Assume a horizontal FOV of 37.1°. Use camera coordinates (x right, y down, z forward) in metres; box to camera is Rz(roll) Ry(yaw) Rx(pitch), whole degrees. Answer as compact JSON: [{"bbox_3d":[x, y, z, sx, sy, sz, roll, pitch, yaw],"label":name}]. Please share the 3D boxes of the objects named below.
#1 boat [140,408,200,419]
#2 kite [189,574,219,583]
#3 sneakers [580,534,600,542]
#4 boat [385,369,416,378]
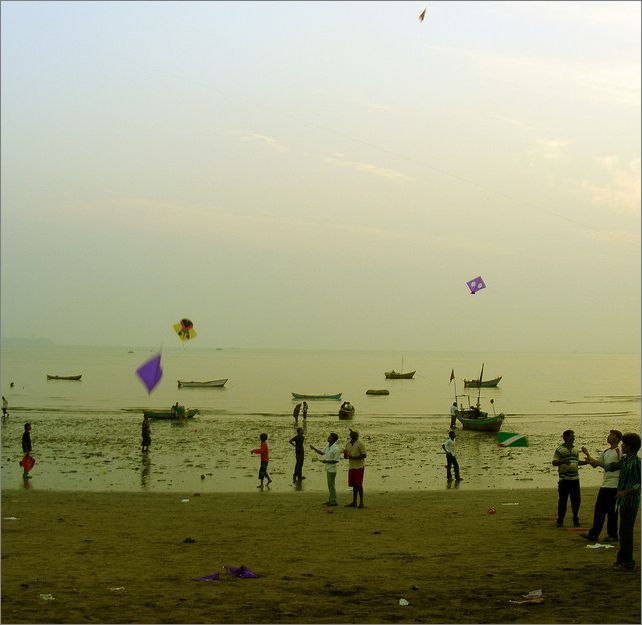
[{"bbox_3d":[-7.550,5.071,48.108,2.407,0.499,4.162,2,-4,-12],"label":"boat"},{"bbox_3d":[-1.820,4.110,14.911,0.404,0.147,0.119,4,1,1],"label":"kite"},{"bbox_3d":[4.660,3.876,16.617,0.103,0.106,0.286,-28,33,-28],"label":"sneakers"},{"bbox_3d":[9.760,7.868,118.807,4.394,0.974,1.408,0,-3,0],"label":"boat"}]
